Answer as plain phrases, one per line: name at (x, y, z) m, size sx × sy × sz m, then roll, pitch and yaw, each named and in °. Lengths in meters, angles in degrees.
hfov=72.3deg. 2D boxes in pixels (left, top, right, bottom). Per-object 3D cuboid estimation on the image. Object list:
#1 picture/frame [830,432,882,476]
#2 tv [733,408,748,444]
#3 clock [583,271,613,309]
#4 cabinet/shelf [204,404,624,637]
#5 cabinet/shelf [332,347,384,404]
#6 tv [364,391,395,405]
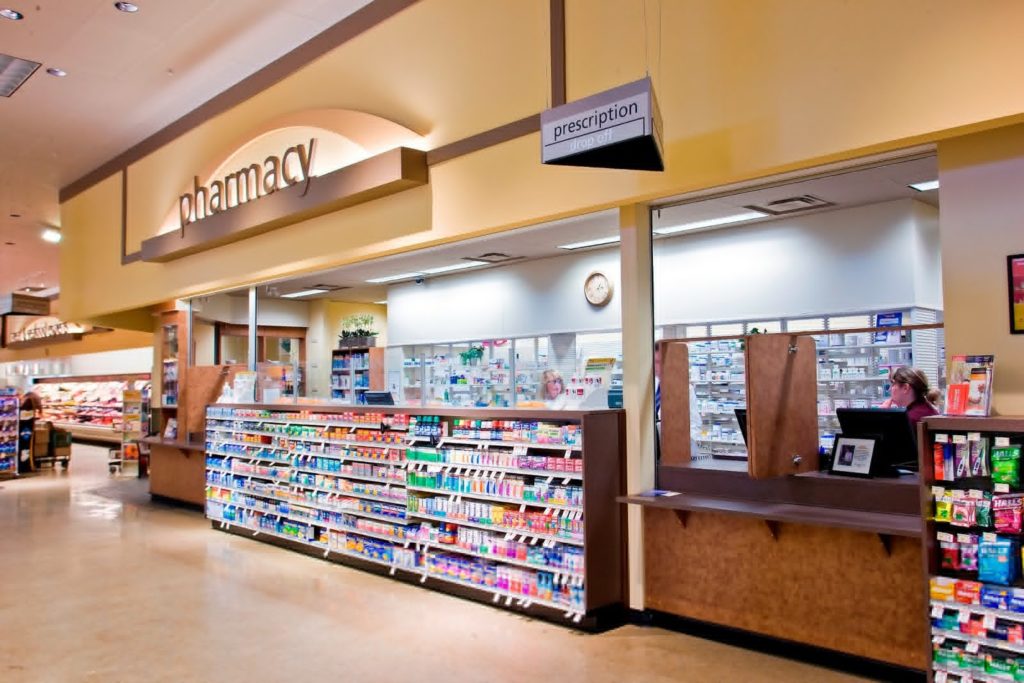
picture/frame at (2.960, 0.975, 6.004) m, size 0.028 × 0.365 × 0.387 m, roll 21°, pitch -10°, yaw -34°
tv at (2.210, 0.831, 6.793) m, size 0.103 × 0.324 × 0.572 m, roll -2°, pitch 0°, yaw 21°
clock at (1.426, -0.847, 11.484) m, size 0.622 × 0.635 × 0.155 m, roll -8°, pitch -6°, yaw 43°
cabinet/shelf at (-1.905, 1.755, 8.928) m, size 7.272 × 1.518 × 0.678 m, roll -1°, pitch 0°, yaw 39°
cabinet/shelf at (-2.885, 0.652, 13.176) m, size 1.058 × 0.896 × 0.332 m, roll -5°, pitch -8°, yaw 41°
tv at (-1.702, 0.730, 8.899) m, size 0.321 × 0.202 × 0.073 m, roll 3°, pitch 7°, yaw 38°
